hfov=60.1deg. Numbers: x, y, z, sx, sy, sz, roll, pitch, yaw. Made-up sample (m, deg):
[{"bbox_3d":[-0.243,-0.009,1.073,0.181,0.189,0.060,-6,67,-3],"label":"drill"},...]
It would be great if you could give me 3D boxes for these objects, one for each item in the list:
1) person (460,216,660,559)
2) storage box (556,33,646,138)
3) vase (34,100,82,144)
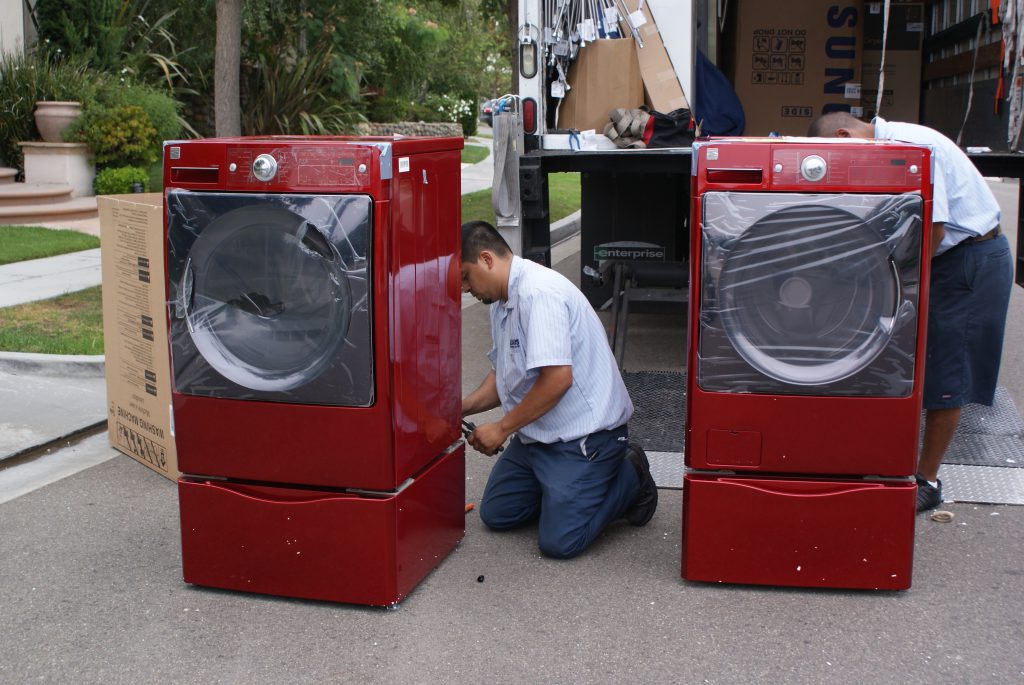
[{"bbox_3d":[0.196,0.227,4.398,1.009,1.597,0.607,1,16,9],"label":"person"},{"bbox_3d":[0.682,-1.923,6.615,0.537,1.081,0.749,1,-2,-20],"label":"storage box"},{"bbox_3d":[-7.000,-3.367,13.594,0.809,0.599,0.661,-4,17,-8],"label":"vase"}]
